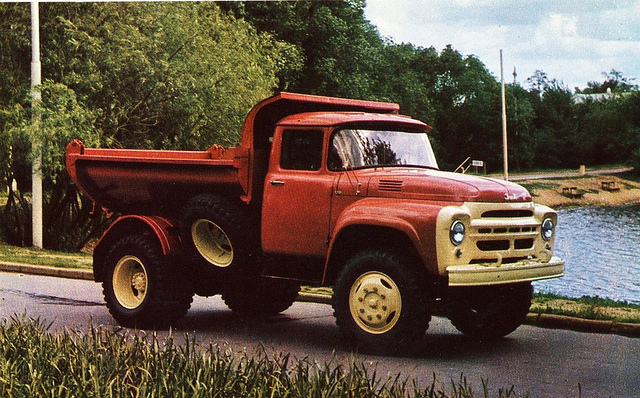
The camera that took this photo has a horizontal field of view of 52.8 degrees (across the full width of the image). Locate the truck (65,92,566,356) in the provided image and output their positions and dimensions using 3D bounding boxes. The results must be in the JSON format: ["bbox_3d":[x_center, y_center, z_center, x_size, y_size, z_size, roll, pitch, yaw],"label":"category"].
[{"bbox_3d":[-0.211,0.278,12.648,8.418,4.197,4.240,-1,-3,30],"label":"truck"}]
